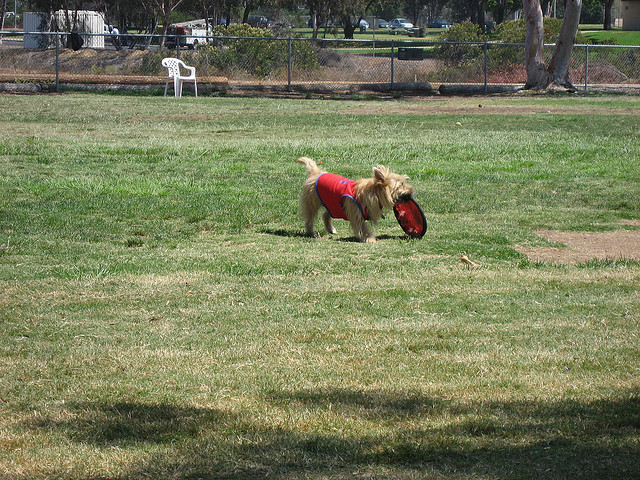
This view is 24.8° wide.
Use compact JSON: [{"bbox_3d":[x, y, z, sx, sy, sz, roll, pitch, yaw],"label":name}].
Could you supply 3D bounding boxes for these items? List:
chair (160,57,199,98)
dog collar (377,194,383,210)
[{"bbox_3d":[-5.375,-6.395,55.582,1.481,2.102,1.418,16,20,42],"label":"chair"},{"bbox_3d":[1.425,-0.918,35.149,0.112,0.338,0.045,2,11,6],"label":"dog collar"}]
